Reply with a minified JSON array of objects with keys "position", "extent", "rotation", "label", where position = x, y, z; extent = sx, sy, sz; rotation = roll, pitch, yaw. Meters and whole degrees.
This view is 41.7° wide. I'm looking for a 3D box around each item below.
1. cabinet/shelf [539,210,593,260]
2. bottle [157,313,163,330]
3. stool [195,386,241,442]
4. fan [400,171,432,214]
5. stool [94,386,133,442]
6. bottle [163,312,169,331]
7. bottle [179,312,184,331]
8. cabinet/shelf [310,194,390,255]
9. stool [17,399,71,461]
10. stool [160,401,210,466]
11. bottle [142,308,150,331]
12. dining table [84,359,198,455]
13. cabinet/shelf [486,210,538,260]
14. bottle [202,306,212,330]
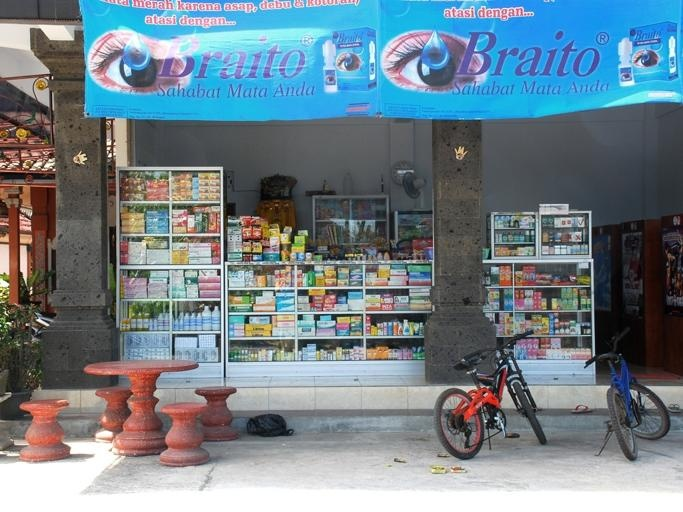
[{"position":[3.497,-0.323,14.038],"extent":[0.819,0.696,0.286],"rotation":[0,-5,-1],"label":"cabinet/shelf"},{"position":[-2.751,1.003,13.660],"extent":[0.111,0.265,0.038],"rotation":[-2,0,3],"label":"bottle"},{"position":[-1.711,2.106,12.054],"extent":[0.679,0.674,0.660],"rotation":[0,-4,-9],"label":"stool"},{"position":[1.456,-1.295,17.475],"extent":[0.567,0.756,0.781],"rotation":[-1,0,5],"label":"fan"},{"position":[-2.959,2.096,11.901],"extent":[0.627,0.625,0.596],"rotation":[-4,-1,-28],"label":"stool"},{"position":[-2.672,0.998,13.665],"extent":[0.096,0.268,0.042],"rotation":[-2,0,-8],"label":"bottle"},{"position":[-2.443,0.999,13.676],"extent":[0.077,0.275,0.066],"rotation":[-2,0,-21],"label":"bottle"},{"position":[0.148,-0.580,16.981],"extent":[1.243,1.063,0.403],"rotation":[0,0,1],"label":"cabinet/shelf"},{"position":[-3.760,2.216,11.394],"extent":[0.678,0.688,0.656],"rotation":[0,-4,-17],"label":"stool"},{"position":[-1.959,2.199,11.132],"extent":[0.595,0.771,0.563],"rotation":[-2,0,-9],"label":"stool"},{"position":[-2.970,0.961,13.650],"extent":[0.097,0.355,0.050],"rotation":[-2,0,2],"label":"bottle"},{"position":[-2.593,1.966,11.629],"extent":[1.286,0.878,1.236],"rotation":[1,-3,-10],"label":"dining table"},{"position":[2.695,-0.314,14.051],"extent":[0.798,0.701,0.271],"rotation":[0,-2,-3],"label":"cabinet/shelf"},{"position":[-2.055,0.940,13.698],"extent":[0.182,0.390,0.099],"rotation":[-2,0,-9],"label":"bottle"}]
